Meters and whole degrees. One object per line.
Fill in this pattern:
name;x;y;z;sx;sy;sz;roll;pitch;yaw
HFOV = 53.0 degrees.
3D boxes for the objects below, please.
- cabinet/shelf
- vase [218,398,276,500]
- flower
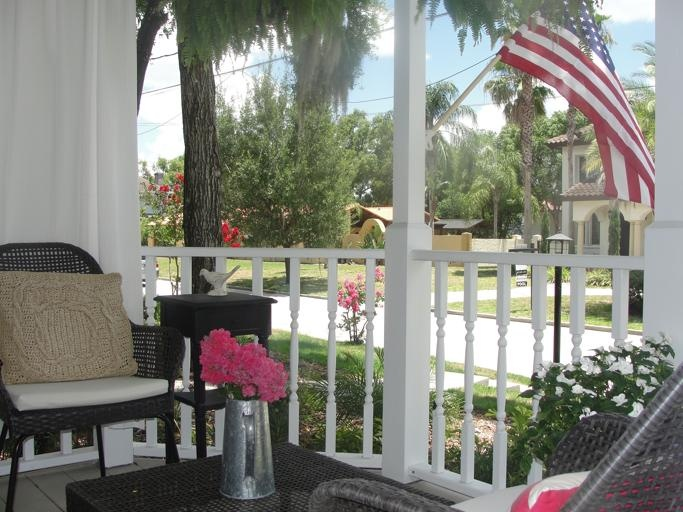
cabinet/shelf;-0.583;0.649;3.602;0.523;0.929;0.608;0;-11;-26
vase;-0.338;0.682;2.451;0.176;0.341;0.289;0;-2;-12
flower;-0.359;0.339;2.486;0.240;0.241;0.255;15;3;-14
